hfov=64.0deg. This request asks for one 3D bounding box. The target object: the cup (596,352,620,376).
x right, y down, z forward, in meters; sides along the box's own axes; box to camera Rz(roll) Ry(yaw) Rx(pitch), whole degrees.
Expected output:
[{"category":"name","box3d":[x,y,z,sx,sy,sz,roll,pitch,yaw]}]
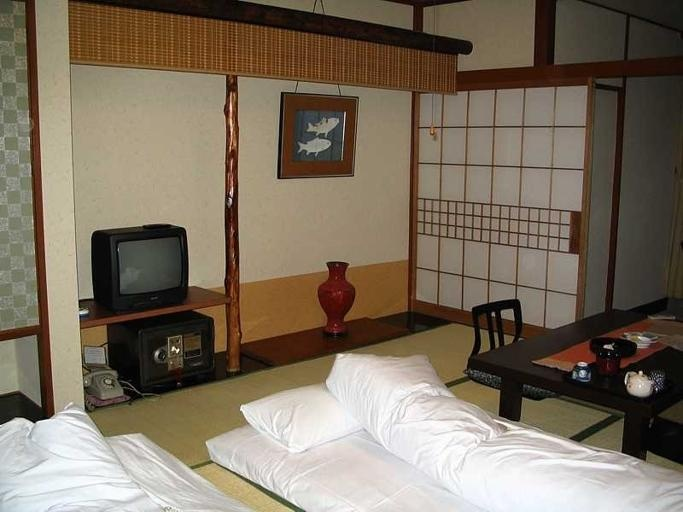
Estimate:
[{"category":"cup","box3d":[1.449,0.591,3.018,0.105,0.096,0.124,-1,2,-12]}]

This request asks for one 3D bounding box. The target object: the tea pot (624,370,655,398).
[{"category":"tea pot","box3d":[1.479,0.645,2.742,0.138,0.104,0.104,-3,5,24]}]

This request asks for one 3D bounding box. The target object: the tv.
[{"category":"tv","box3d":[-1.495,0.047,4.312,0.789,0.773,0.573,-5,6,-44]}]

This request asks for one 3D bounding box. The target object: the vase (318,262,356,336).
[{"category":"vase","box3d":[-0.058,0.422,5.390,0.352,0.718,0.216,-1,11,-4]}]

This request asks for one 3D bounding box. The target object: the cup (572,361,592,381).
[{"category":"cup","box3d":[1.274,0.606,2.911,0.089,0.086,0.091,-3,5,0]}]

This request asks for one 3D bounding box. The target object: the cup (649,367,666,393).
[{"category":"cup","box3d":[1.635,0.652,2.845,0.062,0.085,0.028,9,-14,24]}]

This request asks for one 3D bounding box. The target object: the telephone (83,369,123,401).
[{"category":"telephone","box3d":[-1.741,0.945,4.039,0.269,0.154,0.293,9,2,28]}]
